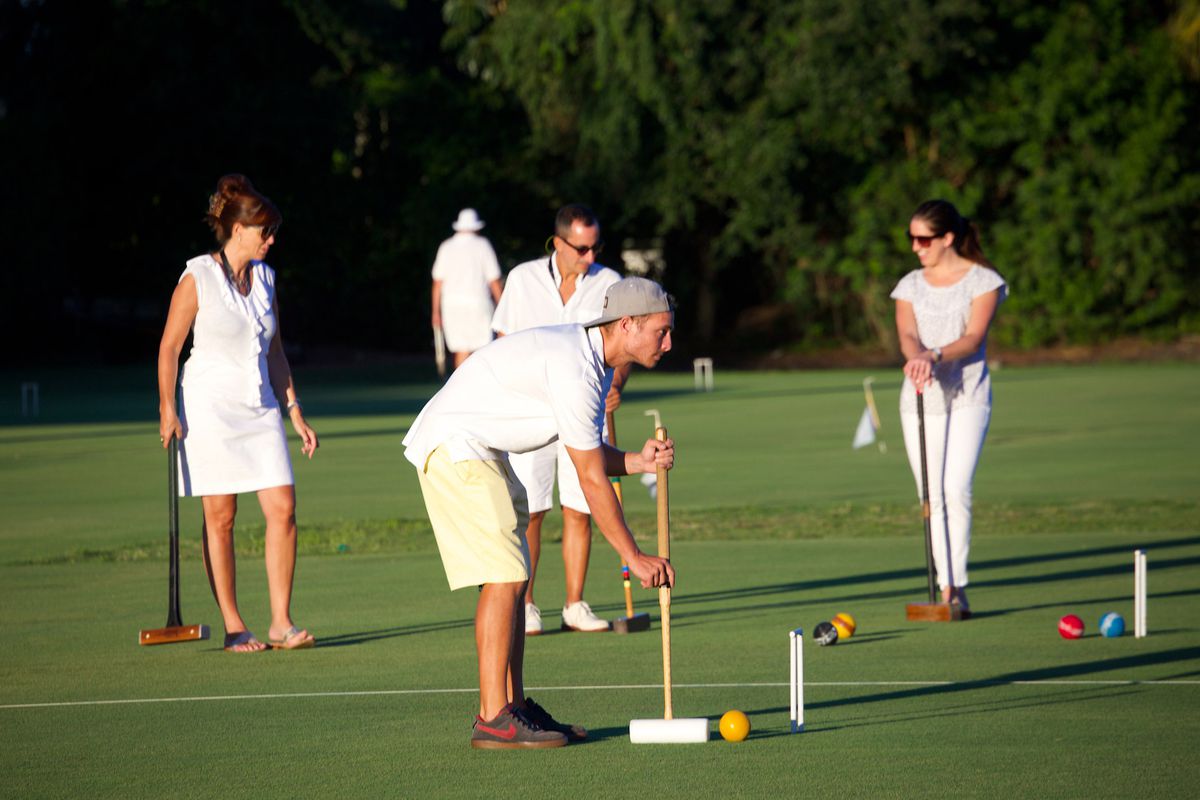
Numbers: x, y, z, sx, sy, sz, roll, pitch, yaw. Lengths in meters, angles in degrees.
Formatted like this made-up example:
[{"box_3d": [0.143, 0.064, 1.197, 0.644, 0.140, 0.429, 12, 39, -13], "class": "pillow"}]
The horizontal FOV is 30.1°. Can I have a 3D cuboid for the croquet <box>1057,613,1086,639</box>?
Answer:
[{"box_3d": [5.403, 2.597, 25.529, 0.332, 0.261, 0.289, -2, 3, 5], "class": "croquet"}]

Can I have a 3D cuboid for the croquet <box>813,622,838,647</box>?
[{"box_3d": [2.564, 2.675, 25.384, 0.295, 0.260, 0.117, -2, 3, 5], "class": "croquet"}]

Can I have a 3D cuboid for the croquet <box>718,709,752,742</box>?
[{"box_3d": [1.435, 3.516, 23.772, 0.271, 0.335, 0.294, 0, 0, 7], "class": "croquet"}]

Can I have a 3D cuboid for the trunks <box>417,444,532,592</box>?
[{"box_3d": [-1.297, 1.237, 24.096, 0.942, 2.027, 1.333, -13, 4, -33], "class": "trunks"}]

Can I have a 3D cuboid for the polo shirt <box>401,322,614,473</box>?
[{"box_3d": [-0.954, 0.180, 24.282, 2.017, 1.383, 2.017, 7, -4, -28], "class": "polo shirt"}]

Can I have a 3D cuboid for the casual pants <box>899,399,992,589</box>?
[{"box_3d": [4.100, 1.160, 26.322, 0.973, 0.920, 3.271, -3, 41, 10], "class": "casual pants"}]

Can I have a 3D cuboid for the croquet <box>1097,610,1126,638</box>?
[{"box_3d": [5.853, 2.567, 25.419, 0.235, 0.298, 0.262, 0, 1, 6], "class": "croquet"}]

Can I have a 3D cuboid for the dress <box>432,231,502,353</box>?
[{"box_3d": [-2.061, -1.348, 34.358, 1.047, 3.134, 0.997, -3, -28, 3], "class": "dress"}]

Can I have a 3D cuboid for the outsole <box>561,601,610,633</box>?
[{"box_3d": [-0.172, 2.537, 25.969, 0.530, 0.302, 0.279, 0, 2, 25], "class": "outsole"}]
